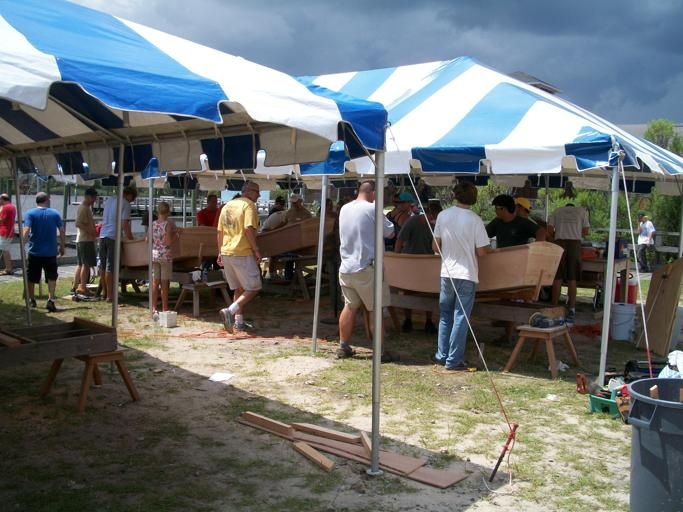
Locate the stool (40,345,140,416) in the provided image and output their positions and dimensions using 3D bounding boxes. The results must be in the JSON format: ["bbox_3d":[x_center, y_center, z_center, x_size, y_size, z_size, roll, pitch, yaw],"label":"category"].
[{"bbox_3d":[-2.626,1.200,6.169,0.792,0.578,0.896,-7,12,-45],"label":"stool"}]

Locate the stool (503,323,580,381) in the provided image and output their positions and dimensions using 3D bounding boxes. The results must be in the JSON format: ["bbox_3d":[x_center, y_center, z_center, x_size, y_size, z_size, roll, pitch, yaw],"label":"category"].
[{"bbox_3d":[2.510,1.175,7.460,0.617,0.479,0.810,0,-4,30],"label":"stool"}]

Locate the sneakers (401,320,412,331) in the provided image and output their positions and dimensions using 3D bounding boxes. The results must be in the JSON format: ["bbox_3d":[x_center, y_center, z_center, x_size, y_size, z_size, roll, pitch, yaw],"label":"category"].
[{"bbox_3d":[1.033,1.125,9.458,0.120,0.185,0.189,-3,-24,0],"label":"sneakers"}]

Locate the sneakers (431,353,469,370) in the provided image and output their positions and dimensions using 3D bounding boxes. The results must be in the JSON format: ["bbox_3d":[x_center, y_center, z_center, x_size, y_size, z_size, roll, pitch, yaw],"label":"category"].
[{"bbox_3d":[1.375,1.340,7.412,0.442,0.173,0.155,-1,1,-26],"label":"sneakers"}]

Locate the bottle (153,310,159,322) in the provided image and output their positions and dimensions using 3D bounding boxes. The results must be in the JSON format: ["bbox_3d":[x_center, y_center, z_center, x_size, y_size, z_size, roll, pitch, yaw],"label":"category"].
[{"bbox_3d":[-3.041,1.007,9.727,0.130,0.223,0.132,1,-3,0],"label":"bottle"}]

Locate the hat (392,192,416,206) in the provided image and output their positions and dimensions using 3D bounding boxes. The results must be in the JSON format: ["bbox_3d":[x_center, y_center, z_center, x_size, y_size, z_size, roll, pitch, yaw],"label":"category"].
[{"bbox_3d":[1.151,-1.086,10.748,0.375,0.126,0.258,7,2,-1],"label":"hat"}]

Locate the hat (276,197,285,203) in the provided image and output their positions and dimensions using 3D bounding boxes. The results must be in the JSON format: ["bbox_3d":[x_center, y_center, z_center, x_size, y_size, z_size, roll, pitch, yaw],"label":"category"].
[{"bbox_3d":[-1.439,-1.363,13.858,0.164,0.128,0.168,7,7,35],"label":"hat"}]

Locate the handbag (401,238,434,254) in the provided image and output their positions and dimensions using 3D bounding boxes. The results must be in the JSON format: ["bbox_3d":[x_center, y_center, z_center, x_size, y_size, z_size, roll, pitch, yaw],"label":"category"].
[{"bbox_3d":[1.207,-0.169,9.250,0.283,0.285,0.270,1,-1,-17],"label":"handbag"}]

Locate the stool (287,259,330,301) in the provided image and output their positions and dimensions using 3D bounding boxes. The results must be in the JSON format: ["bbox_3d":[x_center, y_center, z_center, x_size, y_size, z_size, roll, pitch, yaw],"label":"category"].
[{"bbox_3d":[-0.641,0.594,12.467,0.766,0.646,1.359,-2,6,-14],"label":"stool"}]

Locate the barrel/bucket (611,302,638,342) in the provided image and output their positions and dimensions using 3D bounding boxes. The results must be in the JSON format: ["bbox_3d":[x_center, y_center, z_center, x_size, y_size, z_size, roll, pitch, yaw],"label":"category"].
[{"bbox_3d":[4.408,1.009,9.123,0.506,0.576,0.186,-1,9,-15],"label":"barrel/bucket"}]

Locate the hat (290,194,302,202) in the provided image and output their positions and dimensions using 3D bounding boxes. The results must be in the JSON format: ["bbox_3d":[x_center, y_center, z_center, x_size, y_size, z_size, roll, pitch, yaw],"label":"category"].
[{"bbox_3d":[-0.975,-1.296,12.858,0.188,0.139,0.267,3,2,32],"label":"hat"}]

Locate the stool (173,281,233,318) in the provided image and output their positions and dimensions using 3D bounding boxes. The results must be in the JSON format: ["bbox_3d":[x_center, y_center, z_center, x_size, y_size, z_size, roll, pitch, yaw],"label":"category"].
[{"bbox_3d":[-2.496,0.620,10.308,0.741,0.452,0.905,1,5,28],"label":"stool"}]
